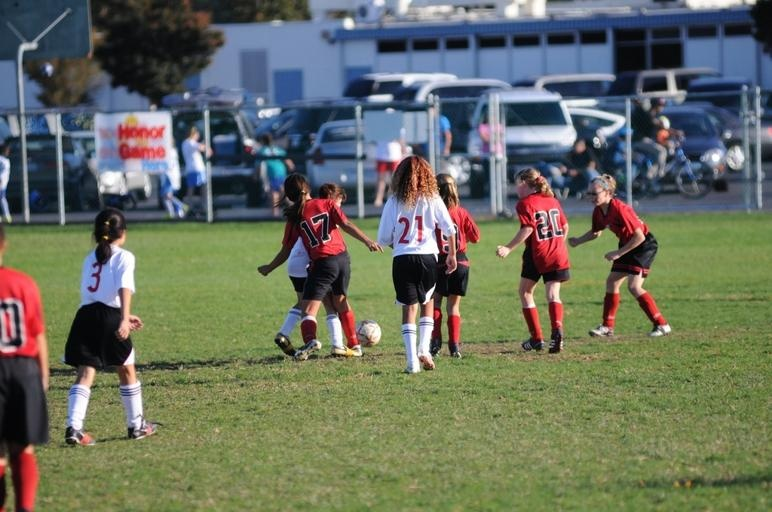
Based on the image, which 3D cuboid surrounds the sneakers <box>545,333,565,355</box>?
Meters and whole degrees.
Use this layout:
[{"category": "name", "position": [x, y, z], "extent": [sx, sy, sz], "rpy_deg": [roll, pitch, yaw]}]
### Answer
[{"category": "sneakers", "position": [2.491, 1.284, 19.284], "extent": [0.206, 0.315, 0.142], "rpy_deg": [-3, 3, 1]}]

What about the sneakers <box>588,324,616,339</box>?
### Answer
[{"category": "sneakers", "position": [3.256, 1.160, 19.801], "extent": [0.390, 0.181, 0.157], "rpy_deg": [2, -1, -8]}]

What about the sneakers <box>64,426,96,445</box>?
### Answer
[{"category": "sneakers", "position": [-4.029, 2.386, 17.292], "extent": [0.448, 0.195, 0.178], "rpy_deg": [5, 2, -23]}]

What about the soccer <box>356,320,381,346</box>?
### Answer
[{"category": "soccer", "position": [-0.263, 1.172, 19.761], "extent": [0.341, 0.351, 0.347], "rpy_deg": [1, 3, 1]}]

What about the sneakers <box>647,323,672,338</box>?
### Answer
[{"category": "sneakers", "position": [4.131, 1.139, 19.828], "extent": [0.343, 0.155, 0.137], "rpy_deg": [-4, -15, -36]}]

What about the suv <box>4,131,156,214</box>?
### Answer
[{"category": "suv", "position": [-6.798, -1.786, 28.652], "extent": [2.674, 1.530, 1.650], "rpy_deg": [-4, 8, -3]}]

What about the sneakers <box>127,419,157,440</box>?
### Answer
[{"category": "sneakers", "position": [-3.207, 2.321, 17.454], "extent": [0.429, 0.198, 0.164], "rpy_deg": [-8, 14, -39]}]

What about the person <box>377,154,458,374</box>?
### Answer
[{"category": "person", "position": [0.448, 0.122, 18.719], "extent": [1.081, 3.089, 0.396], "rpy_deg": [-3, 3, -1]}]

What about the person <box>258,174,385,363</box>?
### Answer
[{"category": "person", "position": [-0.964, 0.155, 19.262], "extent": [1.279, 2.740, 0.609], "rpy_deg": [-3, 3, -4]}]

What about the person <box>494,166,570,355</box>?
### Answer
[{"category": "person", "position": [2.260, 0.074, 19.408], "extent": [0.856, 2.724, 1.000], "rpy_deg": [-2, 3, 11]}]
